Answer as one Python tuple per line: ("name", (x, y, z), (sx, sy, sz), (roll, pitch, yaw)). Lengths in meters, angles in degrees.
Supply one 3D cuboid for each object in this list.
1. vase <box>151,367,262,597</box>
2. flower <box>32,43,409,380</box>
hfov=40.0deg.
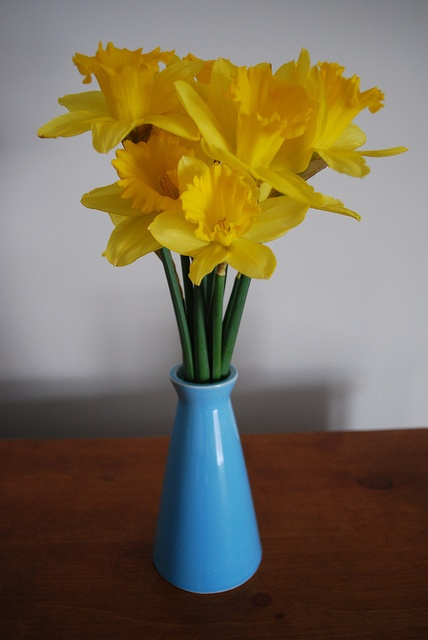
("vase", (-0.008, 0.164, 0.586), (0.091, 0.221, 0.095), (-12, 30, -28))
("flower", (-0.009, -0.079, 0.538), (0.289, 0.282, 0.236), (6, 23, 3))
